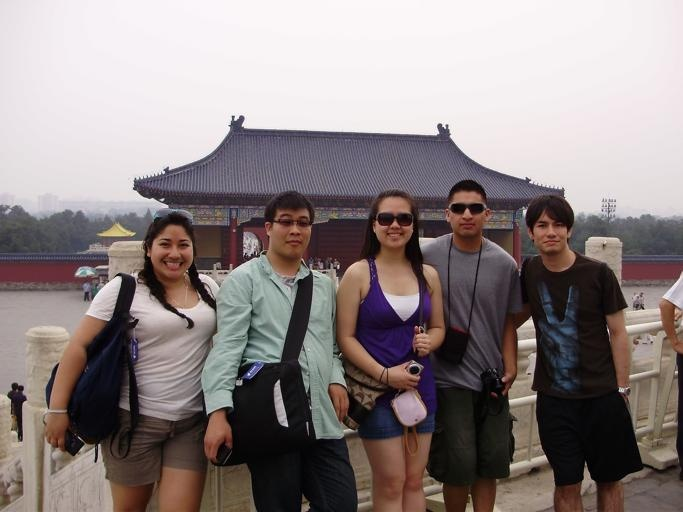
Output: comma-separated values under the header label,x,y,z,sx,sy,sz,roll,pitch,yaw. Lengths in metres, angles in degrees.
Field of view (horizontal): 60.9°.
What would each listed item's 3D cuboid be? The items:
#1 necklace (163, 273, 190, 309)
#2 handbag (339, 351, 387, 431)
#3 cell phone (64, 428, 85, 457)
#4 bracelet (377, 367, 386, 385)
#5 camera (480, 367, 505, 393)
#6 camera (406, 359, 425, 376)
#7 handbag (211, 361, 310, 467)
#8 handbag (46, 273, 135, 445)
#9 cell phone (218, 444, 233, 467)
label,x,y,z,sx,sy,sz,roll,pitch,yaw
necklace,-0.833,0.170,2.977,0.128,0.187,0.057,-9,-15,-28
handbag,0.113,0.677,2.894,0.233,0.303,0.155,31,-8,25
cell phone,-1.294,0.903,2.842,0.113,0.109,0.033,44,-1,-22
bracelet,0.201,0.591,2.877,0.050,0.062,0.058,-2,6,4
camera,0.805,0.658,3.105,0.082,0.063,0.148,-14,17,-17
camera,0.381,0.559,2.919,0.062,0.063,0.147,-2,2,32
handbag,-0.384,0.674,2.802,0.433,0.448,0.254,-5,17,29
handbag,-1.160,0.517,2.802,0.348,0.889,0.170,-3,1,-24
cell phone,-0.531,0.905,2.639,0.078,0.083,0.019,30,10,24
